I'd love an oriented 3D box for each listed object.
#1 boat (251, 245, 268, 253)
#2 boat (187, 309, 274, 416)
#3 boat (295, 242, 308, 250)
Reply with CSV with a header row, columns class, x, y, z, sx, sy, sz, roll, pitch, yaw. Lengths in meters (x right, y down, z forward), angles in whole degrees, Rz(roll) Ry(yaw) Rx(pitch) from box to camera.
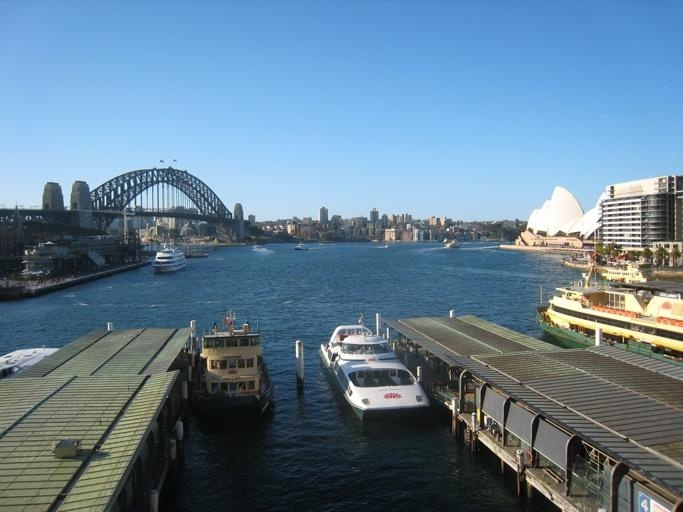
class,x,y,z,sx,sy,sz,roll,pitch,yaw
boat,-46.160,-4.094,299.118,5.786,3.000,7.835,1,6,-7
boat,-7.521,7.238,36.231,4.856,5.769,5.417,-2,7,-16
boat,-23.880,-4.790,307.069,6.168,3.178,8.761,0,2,-3
